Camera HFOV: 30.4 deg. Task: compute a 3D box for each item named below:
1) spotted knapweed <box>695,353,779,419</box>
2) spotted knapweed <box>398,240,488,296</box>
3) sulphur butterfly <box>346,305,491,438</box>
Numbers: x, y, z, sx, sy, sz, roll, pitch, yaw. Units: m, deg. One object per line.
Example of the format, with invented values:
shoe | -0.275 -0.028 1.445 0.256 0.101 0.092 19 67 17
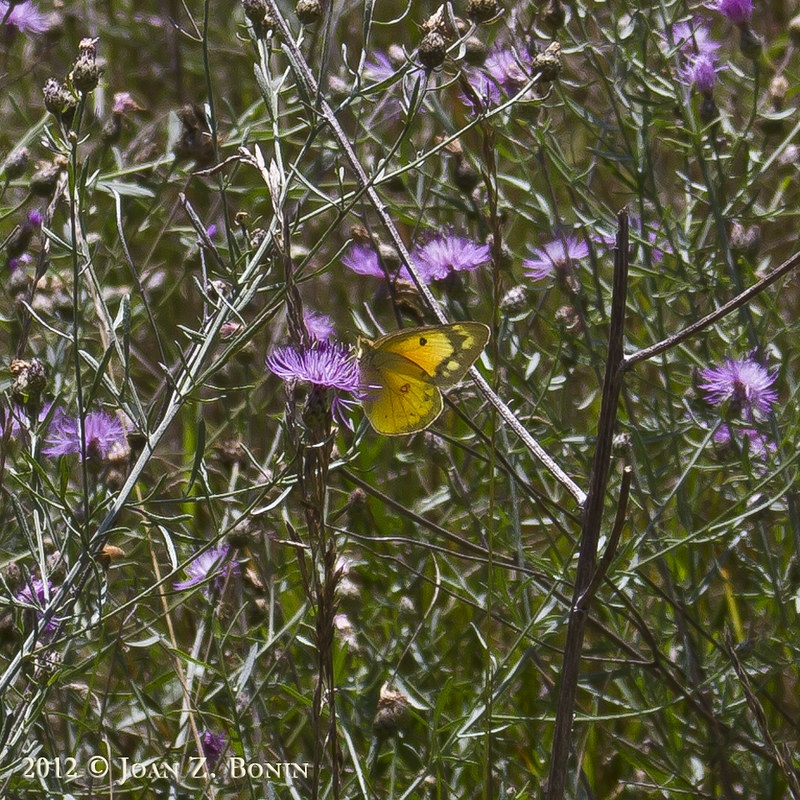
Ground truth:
spotted knapweed | 0.539 -0.018 2.398 0.123 0.132 0.195 -4 -18 14
spotted knapweed | 0.083 -0.246 2.560 0.132 0.117 0.121 1 -16 -1
sulphur butterfly | 0.038 -0.043 2.330 0.197 0.141 0.282 -1 -18 4
